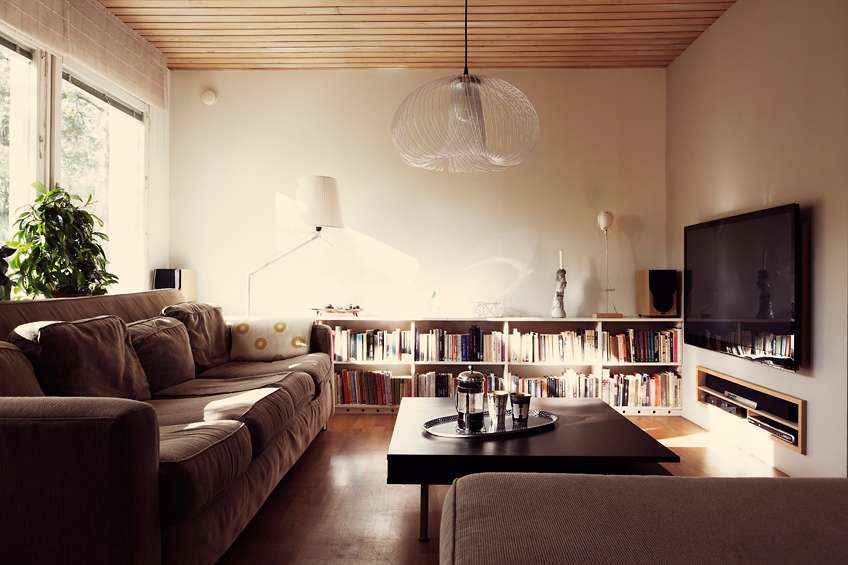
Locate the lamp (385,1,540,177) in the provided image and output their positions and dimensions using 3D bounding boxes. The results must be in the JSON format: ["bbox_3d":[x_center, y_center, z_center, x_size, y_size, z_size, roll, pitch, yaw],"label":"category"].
[{"bbox_3d":[0.286,-1.096,4.193,0.808,0.549,0.621,-1,-1,40],"label":"lamp"}]

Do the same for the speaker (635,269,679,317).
[{"bbox_3d":[2.066,0.101,5.765,0.353,0.530,0.404,0,-2,0],"label":"speaker"}]

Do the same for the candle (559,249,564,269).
[{"bbox_3d":[1.298,-0.234,5.842,0.057,0.175,0.076,0,-1,2],"label":"candle"}]

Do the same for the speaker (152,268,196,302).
[{"bbox_3d":[-2.220,-0.027,5.571,0.367,0.383,0.369,-3,5,-19],"label":"speaker"}]
